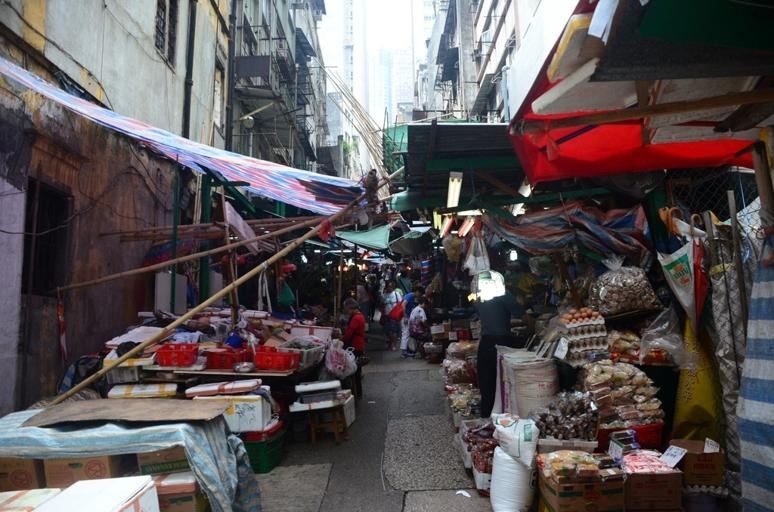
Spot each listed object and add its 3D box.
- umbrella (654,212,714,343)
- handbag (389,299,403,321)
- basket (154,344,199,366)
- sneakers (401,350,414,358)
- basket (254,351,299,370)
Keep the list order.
[{"bbox_3d":[3.816,0.177,7.845,0.526,1.540,0.620,-9,5,-31],"label":"umbrella"},{"bbox_3d":[0.269,1.514,16.623,0.394,0.584,0.610,-7,4,-6],"label":"handbag"},{"bbox_3d":[-2.971,1.382,8.738,0.444,0.183,0.316,-1,4,1],"label":"basket"},{"bbox_3d":[0.543,2.518,15.851,0.328,0.138,0.127,-1,0,-30],"label":"sneakers"},{"bbox_3d":[-1.575,1.500,8.823,0.406,0.152,0.314,-2,-4,12],"label":"basket"}]
